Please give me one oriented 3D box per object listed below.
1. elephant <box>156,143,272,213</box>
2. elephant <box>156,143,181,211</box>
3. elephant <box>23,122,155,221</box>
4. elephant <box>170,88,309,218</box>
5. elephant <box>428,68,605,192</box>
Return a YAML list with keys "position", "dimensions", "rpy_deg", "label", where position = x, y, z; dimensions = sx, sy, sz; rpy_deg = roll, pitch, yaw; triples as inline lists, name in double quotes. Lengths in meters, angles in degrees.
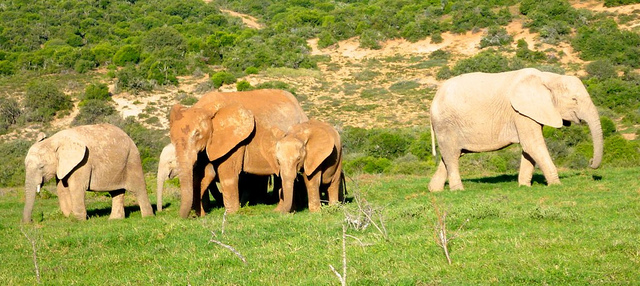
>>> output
- position: [-11.738, 3.483, 70.303]
  dimensions: [13.343, 6.639, 5.985]
  rpy_deg: [0, 2, -10]
  label: "elephant"
- position: [-16.520, 3.441, 68.642]
  dimensions: [2.747, 7.366, 2.460]
  rpy_deg: [3, 2, 30]
  label: "elephant"
- position: [-24.342, 3.348, 67.385]
  dimensions: [13.755, 9.611, 6.868]
  rpy_deg: [-5, 1, -36]
  label: "elephant"
- position: [-8.031, -0.426, 71.817]
  dimensions: [18.819, 11.874, 9.023]
  rpy_deg: [-1, 1, -25]
  label: "elephant"
- position: [20.875, -1.006, 69.977]
  dimensions: [18.990, 11.959, 8.317]
  rpy_deg: [-3, -3, 20]
  label: "elephant"
